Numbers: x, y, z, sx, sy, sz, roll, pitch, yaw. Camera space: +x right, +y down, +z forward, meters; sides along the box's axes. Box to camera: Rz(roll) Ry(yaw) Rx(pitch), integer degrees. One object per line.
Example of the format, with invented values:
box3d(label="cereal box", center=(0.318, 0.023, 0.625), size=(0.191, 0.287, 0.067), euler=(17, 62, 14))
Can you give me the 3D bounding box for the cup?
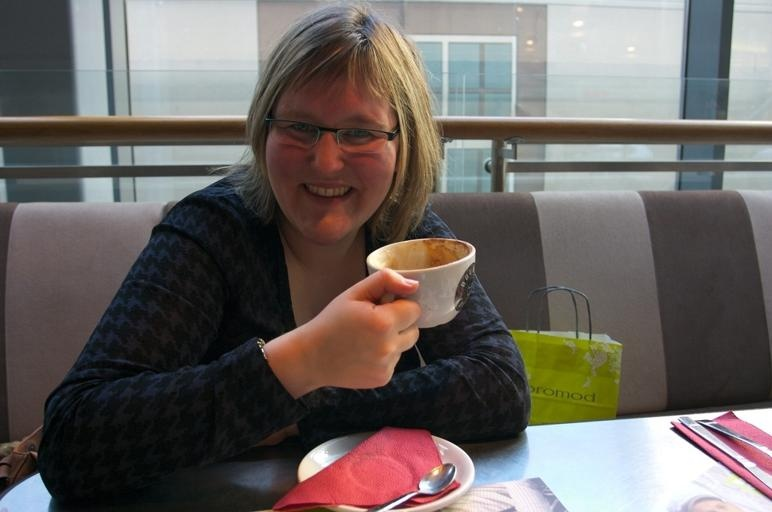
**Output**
box3d(label="cup", center=(0.080, 0.064, 1.458), size=(0.241, 0.197, 0.148), euler=(0, 6, 0))
